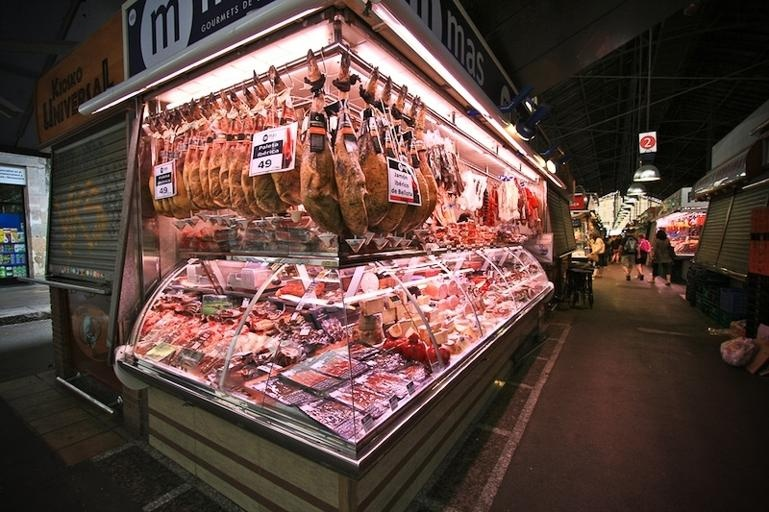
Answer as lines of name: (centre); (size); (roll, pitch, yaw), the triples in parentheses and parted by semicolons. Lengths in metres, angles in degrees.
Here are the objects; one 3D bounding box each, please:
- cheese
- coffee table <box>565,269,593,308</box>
cheese: (0.087, 0.716, 4.911); (0.776, 0.264, 0.717); (0, 15, -17)
coffee table: (4.852, 0.754, 10.808); (0.553, 1.014, 1.248); (5, 11, 33)
